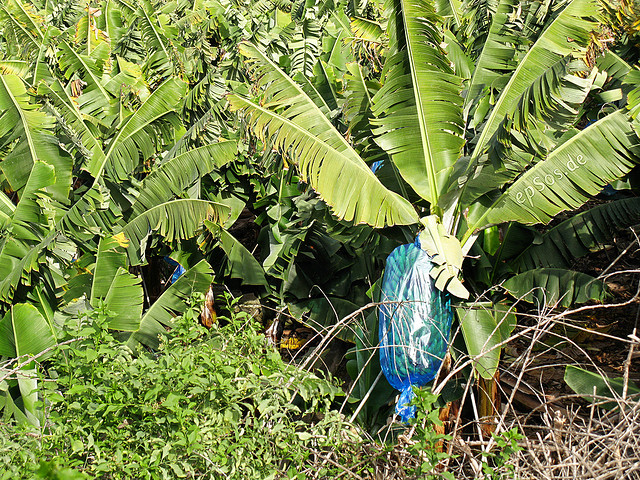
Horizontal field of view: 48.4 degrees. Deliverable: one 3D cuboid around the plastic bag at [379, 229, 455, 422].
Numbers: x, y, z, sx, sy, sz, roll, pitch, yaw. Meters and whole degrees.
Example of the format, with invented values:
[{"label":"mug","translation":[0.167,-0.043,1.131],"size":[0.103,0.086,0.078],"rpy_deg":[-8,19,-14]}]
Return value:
[{"label":"plastic bag","translation":[1.163,1.015,8.702],"size":[0.721,2.453,0.747],"rpy_deg":[9,-13,4]}]
